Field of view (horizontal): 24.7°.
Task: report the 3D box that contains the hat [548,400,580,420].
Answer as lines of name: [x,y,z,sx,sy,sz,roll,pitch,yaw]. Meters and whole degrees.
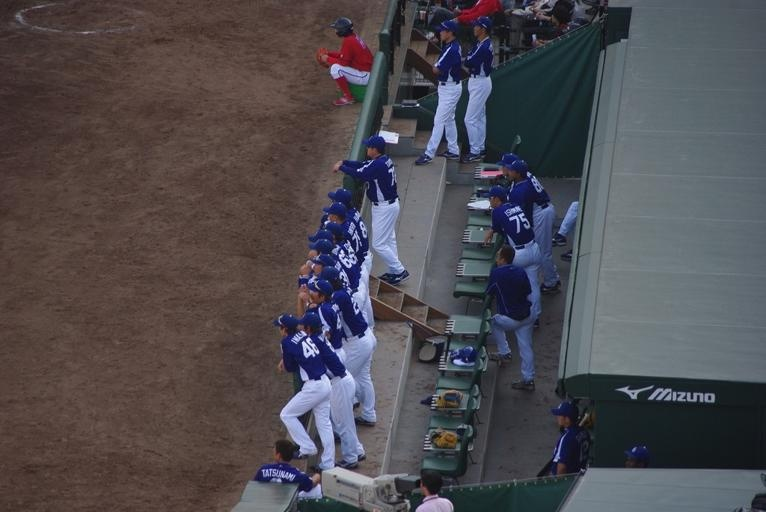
hat: [3.137,2.640,30.156,0.458,0.229,0.284,17,20,11]

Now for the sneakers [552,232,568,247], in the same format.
sneakers: [3.641,-0.353,35.140,0.450,0.277,0.149,7,26,22]

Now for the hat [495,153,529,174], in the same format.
hat: [2.484,-1.821,33.814,0.558,0.280,0.372,12,29,8]

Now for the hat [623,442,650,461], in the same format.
hat: [4.240,3.260,29.019,0.334,0.167,0.224,15,9,15]

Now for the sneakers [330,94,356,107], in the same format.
sneakers: [-0.852,-3.433,37.774,0.581,0.182,0.250,0,-36,14]

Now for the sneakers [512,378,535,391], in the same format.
sneakers: [2.631,2.417,32.643,0.511,0.189,0.158,7,41,22]

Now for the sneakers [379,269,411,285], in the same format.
sneakers: [0.200,0.391,33.575,0.621,0.215,0.231,-5,-44,-8]

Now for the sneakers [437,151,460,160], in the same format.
sneakers: [1.333,-2.104,35.911,0.475,0.175,0.142,7,40,-2]

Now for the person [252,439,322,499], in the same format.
person: [-1.607,3.655,29.553,0.889,1.082,0.645,-3,33,4]

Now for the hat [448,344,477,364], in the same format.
hat: [1.463,1.822,32.005,0.504,0.366,0.362,4,-9,2]

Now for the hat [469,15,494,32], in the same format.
hat: [2.006,-4.770,35.455,0.361,0.384,0.795,3,-9,2]

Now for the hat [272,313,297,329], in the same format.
hat: [-1.737,1.137,30.145,0.392,0.202,0.282,23,27,25]

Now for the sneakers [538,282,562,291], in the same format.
sneakers: [3.310,0.615,34.450,0.459,0.141,0.187,-9,-27,6]

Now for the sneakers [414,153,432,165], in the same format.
sneakers: [0.859,-2.029,35.818,0.423,0.156,0.151,-17,46,-44]

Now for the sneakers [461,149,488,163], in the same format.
sneakers: [1.874,-2.117,36.156,0.637,0.185,0.237,-7,-37,0]

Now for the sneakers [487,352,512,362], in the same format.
sneakers: [2.206,1.905,33.111,0.460,0.167,0.154,6,28,5]

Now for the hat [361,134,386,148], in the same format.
hat: [-0.199,-2.180,32.899,0.379,0.187,0.245,22,35,13]
